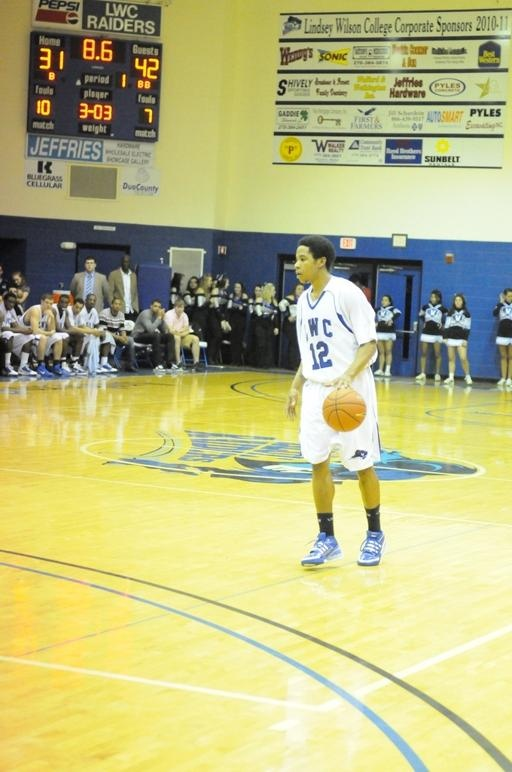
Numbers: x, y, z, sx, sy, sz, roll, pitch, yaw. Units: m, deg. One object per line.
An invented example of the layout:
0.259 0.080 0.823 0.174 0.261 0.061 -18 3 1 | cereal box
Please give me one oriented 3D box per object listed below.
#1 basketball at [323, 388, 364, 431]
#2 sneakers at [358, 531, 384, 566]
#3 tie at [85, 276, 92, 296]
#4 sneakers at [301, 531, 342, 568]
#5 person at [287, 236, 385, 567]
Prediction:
0.399 0.109 2.817 0.187 0.202 0.135 1 -2 31 | basketball
0.568 0.801 3.064 0.072 0.100 0.223 1 7 13 | sneakers
-3.823 -2.298 14.231 0.125 0.428 0.135 1 -2 23 | tie
0.338 0.810 3.061 0.089 0.141 0.256 -8 0 29 | sneakers
0.399 0.078 3.044 0.505 1.594 0.534 2 -2 8 | person
